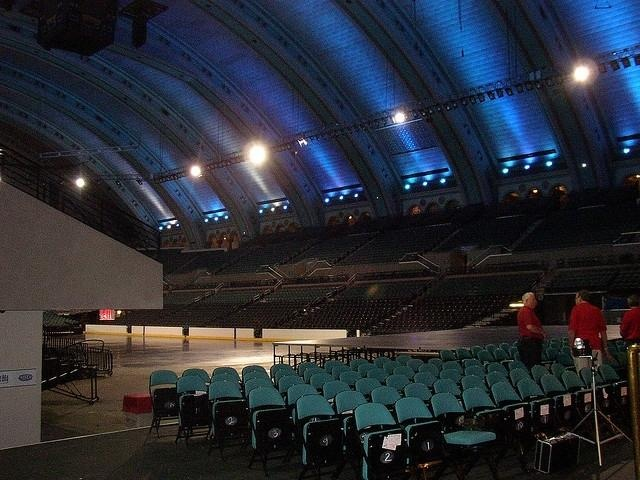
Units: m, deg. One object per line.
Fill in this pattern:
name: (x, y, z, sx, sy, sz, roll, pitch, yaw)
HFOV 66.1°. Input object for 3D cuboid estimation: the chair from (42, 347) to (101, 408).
chair: (-7.330, 3.933, 14.297, 1.309, 1.569, 3.399, 5, -17, -27)
